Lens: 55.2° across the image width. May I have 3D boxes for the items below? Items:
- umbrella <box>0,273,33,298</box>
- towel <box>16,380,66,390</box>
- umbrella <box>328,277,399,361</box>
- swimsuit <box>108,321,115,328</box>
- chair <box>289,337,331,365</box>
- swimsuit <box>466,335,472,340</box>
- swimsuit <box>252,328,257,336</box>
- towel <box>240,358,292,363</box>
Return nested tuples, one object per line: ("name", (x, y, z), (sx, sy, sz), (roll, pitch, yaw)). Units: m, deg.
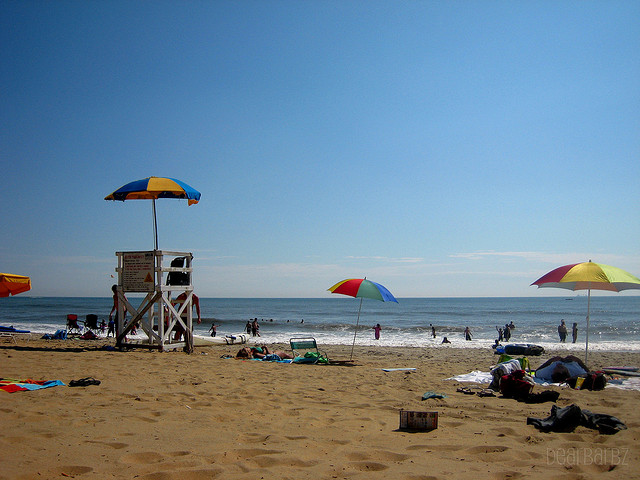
("umbrella", (-8.537, 1.289, 17.066), (0.734, 0.536, 1.097), (6, -7, -26))
("towel", (-4.955, 2.571, 10.848), (0.321, 0.080, 0.772), (-1, -7, 29))
("umbrella", (0.982, 1.850, 15.453), (1.799, 1.718, 1.692), (11, -2, -33))
("swimsuit", (-7.559, 3.059, 22.069), (0.151, 0.256, 1.426), (6, -7, -20))
("chair", (-0.340, 2.994, 16.327), (0.991, 0.846, 1.397), (6, -7, -29))
("swimsuit", (9.093, 5.960, 37.445), (0.248, 0.277, 0.252), (2, -7, 7))
("swimsuit", (-3.527, 4.988, 32.879), (0.246, 0.357, 0.827), (4, -6, -6))
("towel", (-1.282, 3.076, 15.614), (1.308, 0.038, 0.790), (4, -6, -15))
